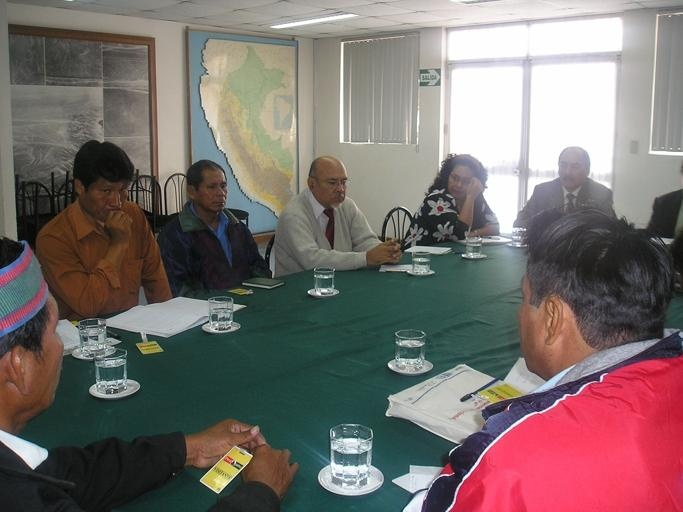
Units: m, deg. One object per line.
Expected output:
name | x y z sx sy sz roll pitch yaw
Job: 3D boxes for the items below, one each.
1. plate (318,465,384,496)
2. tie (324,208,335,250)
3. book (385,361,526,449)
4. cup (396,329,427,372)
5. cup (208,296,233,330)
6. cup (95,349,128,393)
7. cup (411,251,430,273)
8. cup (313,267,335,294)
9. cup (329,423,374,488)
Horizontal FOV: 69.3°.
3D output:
plate | 0.020 0.519 1.141 0.150 0.016 0.099 2 13 4
tie | -0.087 -0.189 3.493 0.056 0.295 0.074 -1 3 -3
book | 0.295 0.406 1.373 0.191 0.052 0.193 -16 21 -41
cup | 0.225 0.314 1.689 0.115 0.136 0.119 0 11 0
cup | -0.486 0.239 2.066 0.109 0.128 0.115 1 3 0
cup | -0.695 0.360 1.558 0.095 0.117 0.127 1 5 0
cup | 0.467 0.038 2.982 0.107 0.118 0.102 0 6 0
cup | -0.098 0.124 2.565 0.120 0.139 0.120 -1 8 0
cup | 0.022 0.461 1.188 0.108 0.136 0.118 1 3 0
